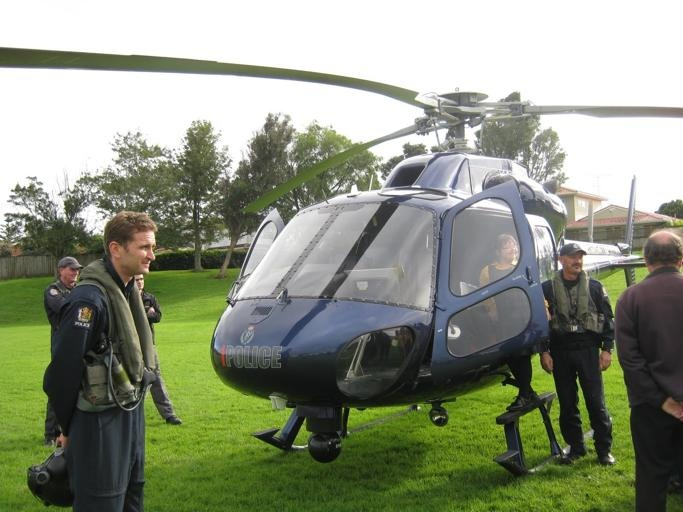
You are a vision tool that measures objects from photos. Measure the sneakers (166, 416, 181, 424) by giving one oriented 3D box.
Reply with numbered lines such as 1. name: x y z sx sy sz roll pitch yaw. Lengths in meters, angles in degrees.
1. sneakers: -2.193 2.107 6.912 0.245 0.111 0.087 -7 -5 39

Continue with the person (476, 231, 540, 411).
1. person: 1.581 0.627 5.052 0.378 1.684 0.920 -1 2 25
